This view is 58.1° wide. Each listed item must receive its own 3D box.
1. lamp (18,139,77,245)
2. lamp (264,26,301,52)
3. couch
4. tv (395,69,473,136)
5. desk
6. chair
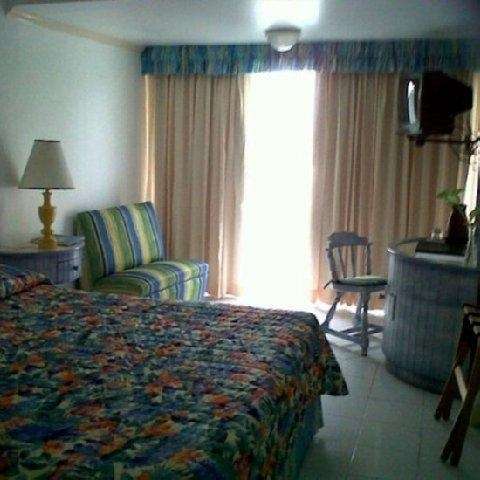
[{"bbox_3d":[-1.454,-0.350,3.245,0.366,0.794,0.445,-1,6,-27],"label":"lamp"},{"bbox_3d":[0.376,-1.783,3.793,0.309,0.135,0.319,-3,7,-38],"label":"lamp"},{"bbox_3d":[-0.878,0.190,4.068,0.693,0.984,1.270,1,6,17],"label":"couch"},{"bbox_3d":[1.829,-1.302,4.139,0.430,0.676,0.701,-16,20,-39],"label":"tv"},{"bbox_3d":[1.160,0.480,3.018,0.703,0.760,0.757,6,12,22],"label":"desk"},{"bbox_3d":[1.012,0.401,3.906,0.568,0.935,1.293,3,6,15],"label":"chair"}]
